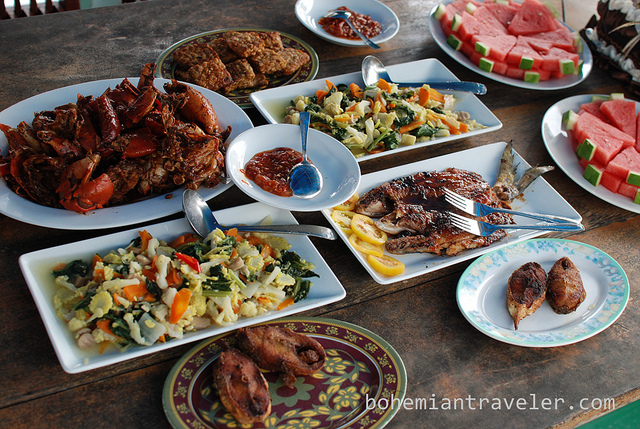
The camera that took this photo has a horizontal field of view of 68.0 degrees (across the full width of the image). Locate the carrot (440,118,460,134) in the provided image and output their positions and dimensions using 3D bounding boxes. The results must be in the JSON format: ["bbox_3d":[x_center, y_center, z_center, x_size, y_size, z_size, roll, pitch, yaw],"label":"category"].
[{"bbox_3d":[0.977,-0.656,3.548,0.035,0.042,0.160,-39,63,-20],"label":"carrot"}]

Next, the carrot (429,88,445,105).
[{"bbox_3d":[0.940,-0.942,3.782,0.157,0.045,0.101,32,46,17],"label":"carrot"}]

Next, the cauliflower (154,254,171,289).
[{"bbox_3d":[-0.830,0.303,2.492,0.075,0.070,0.199,-15,66,-14],"label":"cauliflower"}]

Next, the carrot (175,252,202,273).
[{"bbox_3d":[-0.692,0.248,2.527,0.171,0.056,0.045,23,102,10],"label":"carrot"}]

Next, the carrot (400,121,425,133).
[{"bbox_3d":[0.680,-0.639,3.477,0.180,0.027,0.035,-19,77,2],"label":"carrot"}]

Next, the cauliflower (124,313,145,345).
[{"bbox_3d":[-0.925,0.560,2.410,0.073,0.045,0.170,-27,85,15],"label":"cauliflower"}]

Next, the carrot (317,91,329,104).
[{"bbox_3d":[0.026,-0.886,3.616,0.017,0.069,0.073,48,53,-7],"label":"carrot"}]

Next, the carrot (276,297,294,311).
[{"bbox_3d":[-0.191,0.474,2.552,0.038,0.025,0.100,35,52,27],"label":"carrot"}]

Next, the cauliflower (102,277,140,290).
[{"bbox_3d":[-1.019,0.343,2.423,0.193,0.062,0.067,0,104,-20],"label":"cauliflower"}]

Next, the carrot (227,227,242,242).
[{"bbox_3d":[-0.488,0.109,2.729,0.083,0.022,0.076,26,50,-34],"label":"carrot"}]

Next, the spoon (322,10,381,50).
[{"bbox_3d":[0.303,-1.677,4.150,0.261,0.069,0.703,-18,48,-21],"label":"spoon"}]

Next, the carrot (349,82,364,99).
[{"bbox_3d":[0.286,-0.955,3.670,0.120,0.047,0.113,-10,41,-25],"label":"carrot"}]

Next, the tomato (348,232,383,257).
[{"bbox_3d":[0.278,0.196,2.856,0.165,0.138,0.039,23,100,-14],"label":"tomato"}]

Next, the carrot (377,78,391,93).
[{"bbox_3d":[0.503,-0.995,3.678,0.099,0.036,0.094,8,90,33],"label":"carrot"}]

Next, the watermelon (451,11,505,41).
[{"bbox_3d":[1.400,-1.667,4.223,0.389,0.108,0.295,12,36,-6],"label":"watermelon"}]

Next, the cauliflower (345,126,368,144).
[{"bbox_3d":[0.270,-0.564,3.356,0.125,0.032,0.096,34,57,11],"label":"cauliflower"}]

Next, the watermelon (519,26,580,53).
[{"bbox_3d":[2.107,-1.700,4.477,0.654,0.214,0.526,10,28,12],"label":"watermelon"}]

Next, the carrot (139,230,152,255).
[{"bbox_3d":[-0.979,0.149,2.645,0.060,0.031,0.111,16,71,-19],"label":"carrot"}]

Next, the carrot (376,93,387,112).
[{"bbox_3d":[0.465,-0.839,3.576,0.027,0.118,0.112,-16,50,17],"label":"carrot"}]

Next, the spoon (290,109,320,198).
[{"bbox_3d":[-0.094,-0.392,3.011,0.167,0.082,0.593,1,51,-4],"label":"spoon"}]

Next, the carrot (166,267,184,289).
[{"bbox_3d":[-0.772,0.331,2.496,0.078,0.032,0.106,-26,68,-16],"label":"carrot"}]

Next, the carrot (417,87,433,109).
[{"bbox_3d":[0.814,-0.913,3.694,0.105,0.033,0.158,14,92,25],"label":"carrot"}]

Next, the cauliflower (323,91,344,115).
[{"bbox_3d":[0.107,-0.823,3.509,0.167,0.050,0.163,-10,72,0],"label":"cauliflower"}]

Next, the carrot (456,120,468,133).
[{"bbox_3d":[1.077,-0.648,3.565,0.106,0.059,0.074,2,91,31],"label":"carrot"}]

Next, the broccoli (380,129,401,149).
[{"bbox_3d":[0.516,-0.537,3.389,0.121,0.040,0.123,-2,48,-8],"label":"broccoli"}]

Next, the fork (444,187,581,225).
[{"bbox_3d":[1.214,-0.054,3.054,0.709,0.083,0.075,11,57,-2],"label":"fork"}]

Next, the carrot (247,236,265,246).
[{"bbox_3d":[-0.375,0.149,2.760,0.091,0.029,0.045,22,73,5],"label":"carrot"}]

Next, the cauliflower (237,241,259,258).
[{"bbox_3d":[-0.406,0.195,2.649,0.083,0.028,0.079,-2,45,-26],"label":"cauliflower"}]

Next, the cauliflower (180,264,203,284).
[{"bbox_3d":[-0.680,0.303,2.501,0.127,0.030,0.066,42,68,16],"label":"cauliflower"}]

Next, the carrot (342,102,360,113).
[{"bbox_3d":[0.236,-0.786,3.525,0.149,0.026,0.037,-39,45,-19],"label":"carrot"}]

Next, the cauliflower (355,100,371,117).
[{"bbox_3d":[0.315,-0.795,3.518,0.116,0.046,0.116,-37,45,5],"label":"cauliflower"}]

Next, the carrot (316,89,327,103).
[{"bbox_3d":[0.019,-0.903,3.657,0.108,0.032,0.076,-47,62,-7],"label":"carrot"}]

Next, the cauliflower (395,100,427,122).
[{"bbox_3d":[0.707,-0.759,3.557,0.191,0.064,0.190,32,29,22],"label":"cauliflower"}]

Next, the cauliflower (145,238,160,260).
[{"bbox_3d":[-0.922,0.181,2.607,0.029,0.086,0.086,18,91,-30],"label":"cauliflower"}]

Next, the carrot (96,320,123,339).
[{"bbox_3d":[-1.039,0.563,2.359,0.138,0.049,0.051,34,66,13],"label":"carrot"}]

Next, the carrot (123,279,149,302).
[{"bbox_3d":[-0.943,0.383,2.439,0.106,0.057,0.070,-31,69,-18],"label":"carrot"}]
